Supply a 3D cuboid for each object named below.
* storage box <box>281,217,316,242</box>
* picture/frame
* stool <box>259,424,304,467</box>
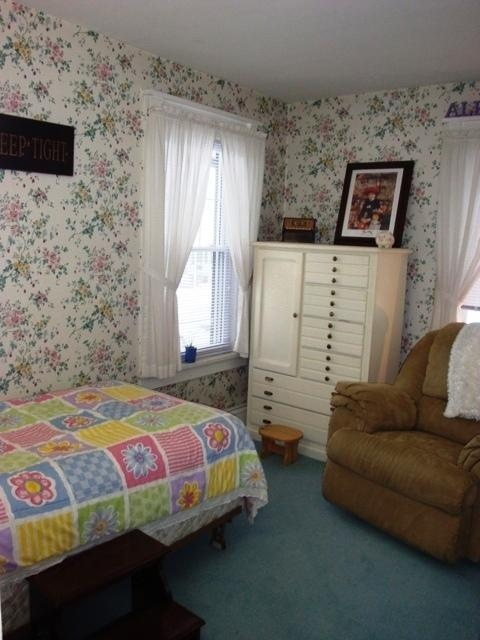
[{"bbox_3d":[0.495,-0.714,3.799,0.319,0.305,0.177,4,3,14],"label":"storage box"},{"bbox_3d":[1.065,-0.911,3.552,0.034,0.910,0.677,5,4,-45],"label":"picture/frame"},{"bbox_3d":[0.326,0.890,3.415,0.295,0.204,0.231,5,8,40],"label":"stool"}]
